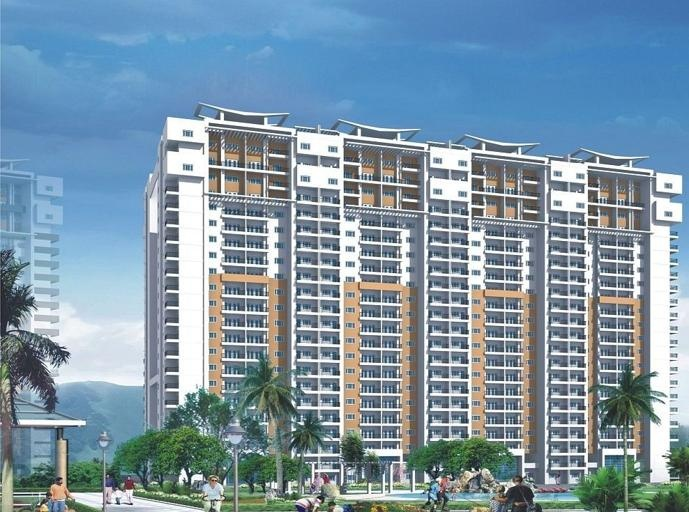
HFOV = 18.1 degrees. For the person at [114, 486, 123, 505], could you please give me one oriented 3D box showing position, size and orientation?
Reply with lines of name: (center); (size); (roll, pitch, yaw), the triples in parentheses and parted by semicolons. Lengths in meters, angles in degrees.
person: (-30.690, 32.137, 289.983); (0.913, 2.208, 0.683); (6, -17, -7)
